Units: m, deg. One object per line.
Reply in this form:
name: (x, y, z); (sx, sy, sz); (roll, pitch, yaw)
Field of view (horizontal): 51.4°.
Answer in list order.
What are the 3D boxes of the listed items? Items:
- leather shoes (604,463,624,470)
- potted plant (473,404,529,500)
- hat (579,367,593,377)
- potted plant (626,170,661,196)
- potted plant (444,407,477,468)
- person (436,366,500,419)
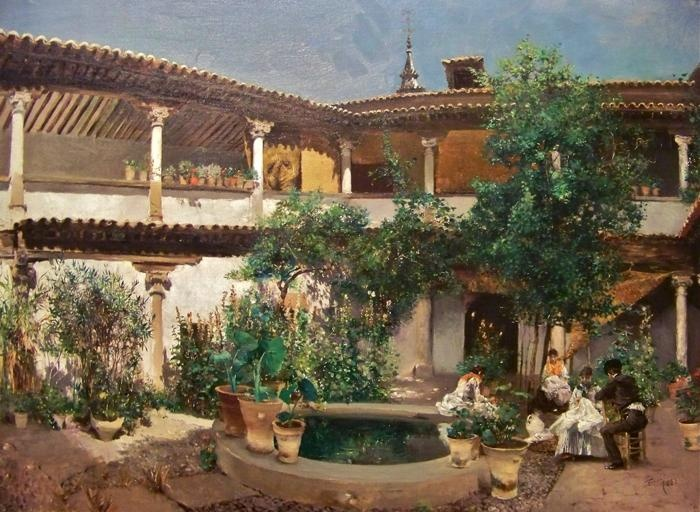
leather shoes: (4.265, 3.403, 11.788); (0.271, 0.073, 0.106); (4, 10, -8)
potted plant: (2.337, 2.997, 11.258); (0.659, 1.403, 0.713); (0, 0, -43)
hat: (4.152, 2.042, 12.869); (0.140, 0.164, 0.172); (-3, -9, 22)
potted plant: (7.122, -1.736, 17.627); (0.938, 0.627, 0.935); (1, -5, 1)
potted plant: (1.743, 2.793, 11.292); (0.393, 0.829, 0.642); (0, 0, 34)
person: (2.095, 2.398, 12.917); (1.001, 0.791, 0.712); (6, -8, 1)
